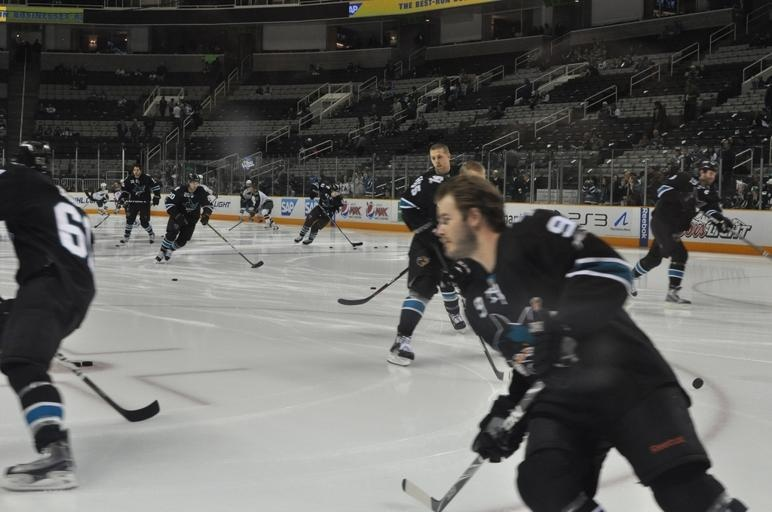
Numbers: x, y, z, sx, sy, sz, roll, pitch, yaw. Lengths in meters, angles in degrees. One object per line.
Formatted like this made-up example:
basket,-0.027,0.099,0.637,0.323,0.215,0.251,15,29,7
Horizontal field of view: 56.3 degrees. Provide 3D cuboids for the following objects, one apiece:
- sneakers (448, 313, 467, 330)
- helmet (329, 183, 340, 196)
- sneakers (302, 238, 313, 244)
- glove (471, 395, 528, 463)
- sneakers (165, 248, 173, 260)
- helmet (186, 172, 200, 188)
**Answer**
sneakers,0.662,0.606,6.743,0.121,0.198,0.084,-24,5,15
helmet,-1.115,-1.396,15.586,0.228,0.241,0.274,5,-5,-31
sneakers,-1.698,-0.331,15.505,0.249,0.076,0.249,-3,-15,-7
glove,0.465,0.704,2.938,0.182,0.300,0.109,50,-3,5
sneakers,-3.545,-0.022,11.743,0.070,0.184,0.140,21,-7,-20
helmet,-3.206,-1.247,12.020,0.198,0.234,0.421,-1,8,-14
